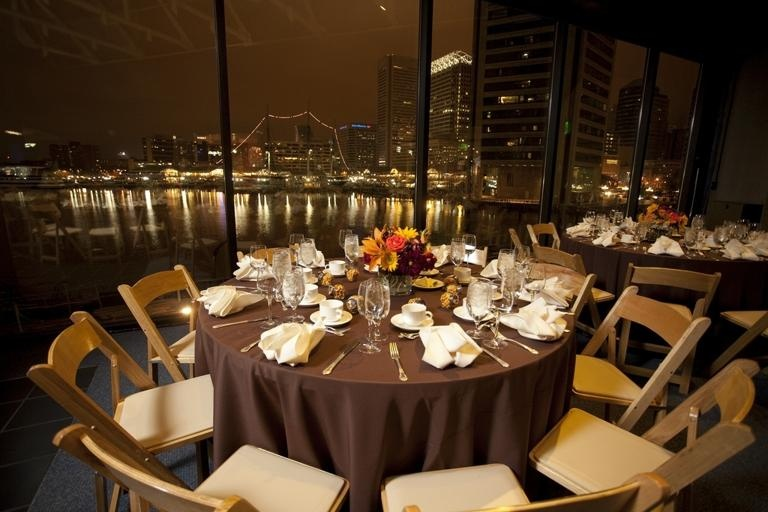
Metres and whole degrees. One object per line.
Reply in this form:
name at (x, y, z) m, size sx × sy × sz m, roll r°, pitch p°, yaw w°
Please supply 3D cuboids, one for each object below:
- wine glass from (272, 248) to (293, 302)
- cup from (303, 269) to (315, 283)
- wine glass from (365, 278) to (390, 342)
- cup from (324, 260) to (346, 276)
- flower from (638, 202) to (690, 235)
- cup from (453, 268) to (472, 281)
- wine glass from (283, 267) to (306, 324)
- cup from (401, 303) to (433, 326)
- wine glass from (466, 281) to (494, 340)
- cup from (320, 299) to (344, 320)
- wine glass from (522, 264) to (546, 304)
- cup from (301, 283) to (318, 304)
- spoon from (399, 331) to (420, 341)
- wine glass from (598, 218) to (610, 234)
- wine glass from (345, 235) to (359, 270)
wine glass at (-0.753, 0.124, 3.641) m, size 0.153 × 0.406 × 0.141 m, roll -2°, pitch 24°, yaw -14°
cup at (-0.612, 0.154, 4.021) m, size 0.081 × 0.088 × 0.113 m, roll 1°, pitch 17°, yaw -2°
wine glass at (-0.046, 0.365, 3.477) m, size 0.158 × 0.429 × 0.260 m, roll -1°, pitch 12°, yaw 1°
cup at (-0.425, 0.091, 4.244) m, size 0.139 × 0.112 × 0.119 m, roll -4°, pitch 14°, yaw 4°
flower at (3.239, -0.457, 5.721) m, size 0.433 × 0.345 × 0.436 m, roll -8°, pitch 19°, yaw -33°
cup at (0.660, 0.152, 4.109) m, size 0.107 × 0.095 × 0.106 m, roll -6°, pitch 12°, yaw 1°
wine glass at (-0.660, 0.275, 3.552) m, size 0.150 × 0.394 × 0.287 m, roll -4°, pitch 12°, yaw -13°
cup at (0.225, 0.417, 3.544) m, size 0.135 × 0.116 × 0.174 m, roll -7°, pitch 17°, yaw -23°
wine glass at (0.673, 0.362, 3.496) m, size 0.172 × 0.419 × 0.270 m, roll 2°, pitch 12°, yaw 12°
cup at (-0.386, 0.393, 3.600) m, size 0.147 × 0.106 × 0.115 m, roll 4°, pitch 8°, yaw 44°
wine glass at (1.142, 0.210, 3.770) m, size 0.163 × 0.318 × 0.118 m, roll 3°, pitch 13°, yaw 17°
cup at (-0.573, 0.285, 3.788) m, size 0.131 × 0.069 × 0.135 m, roll 0°, pitch 8°, yaw 0°
spoon at (0.175, 0.574, 3.484) m, size 0.184 × 0.030 × 0.054 m, roll -4°, pitch 55°, yaw -19°
wine glass at (2.554, -0.355, 5.735) m, size 0.124 × 0.235 × 0.138 m, roll -3°, pitch 17°, yaw 12°
wine glass at (-0.277, -0.023, 4.188) m, size 0.128 × 0.320 × 0.130 m, roll -1°, pitch 19°, yaw -11°
